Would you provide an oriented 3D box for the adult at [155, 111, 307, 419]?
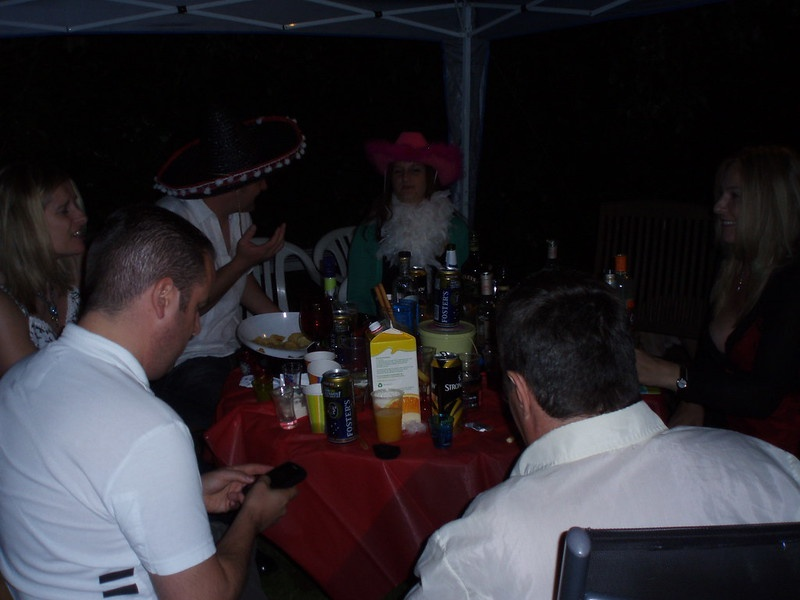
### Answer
[{"bbox_3d":[-0.998,0.192,3.356,0.823,2.224,0.892,3,14,-5],"label":"adult"}]

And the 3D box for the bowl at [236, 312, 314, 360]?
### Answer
[{"bbox_3d":[-0.578,0.145,2.631,0.238,0.088,0.248,5,24,-2],"label":"bowl"}]

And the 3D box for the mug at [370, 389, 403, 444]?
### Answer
[{"bbox_3d":[-0.041,0.369,1.910,0.144,0.163,0.137,0,-18,-5],"label":"mug"}]

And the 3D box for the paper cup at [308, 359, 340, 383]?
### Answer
[{"bbox_3d":[-0.263,0.237,2.042,0.088,0.064,0.082,2,22,-1],"label":"paper cup"}]

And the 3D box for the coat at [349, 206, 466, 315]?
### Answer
[{"bbox_3d":[0.028,-0.216,3.350,0.701,0.717,0.279,1,-9,-4],"label":"coat"}]

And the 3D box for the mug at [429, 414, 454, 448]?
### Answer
[{"bbox_3d":[0.131,0.412,1.867,0.086,0.093,0.090,-3,-5,31],"label":"mug"}]

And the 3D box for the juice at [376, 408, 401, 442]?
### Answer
[{"bbox_3d":[-0.035,0.410,1.949,0.093,0.079,0.103,-1,-5,2],"label":"juice"}]

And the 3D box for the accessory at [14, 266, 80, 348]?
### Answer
[{"bbox_3d":[-1.426,0.031,2.387,0.239,0.303,0.283,0,15,-19],"label":"accessory"}]

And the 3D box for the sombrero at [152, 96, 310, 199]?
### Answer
[{"bbox_3d":[-0.896,-0.757,3.129,0.672,0.256,0.496,-26,37,-5],"label":"sombrero"}]

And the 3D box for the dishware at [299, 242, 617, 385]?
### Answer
[{"bbox_3d":[0.153,0.044,2.261,0.781,0.300,0.860,0,1,2],"label":"dishware"}]

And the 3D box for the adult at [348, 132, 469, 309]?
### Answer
[{"bbox_3d":[0.077,-0.403,4.113,0.944,1.326,0.590,-6,6,0],"label":"adult"}]
